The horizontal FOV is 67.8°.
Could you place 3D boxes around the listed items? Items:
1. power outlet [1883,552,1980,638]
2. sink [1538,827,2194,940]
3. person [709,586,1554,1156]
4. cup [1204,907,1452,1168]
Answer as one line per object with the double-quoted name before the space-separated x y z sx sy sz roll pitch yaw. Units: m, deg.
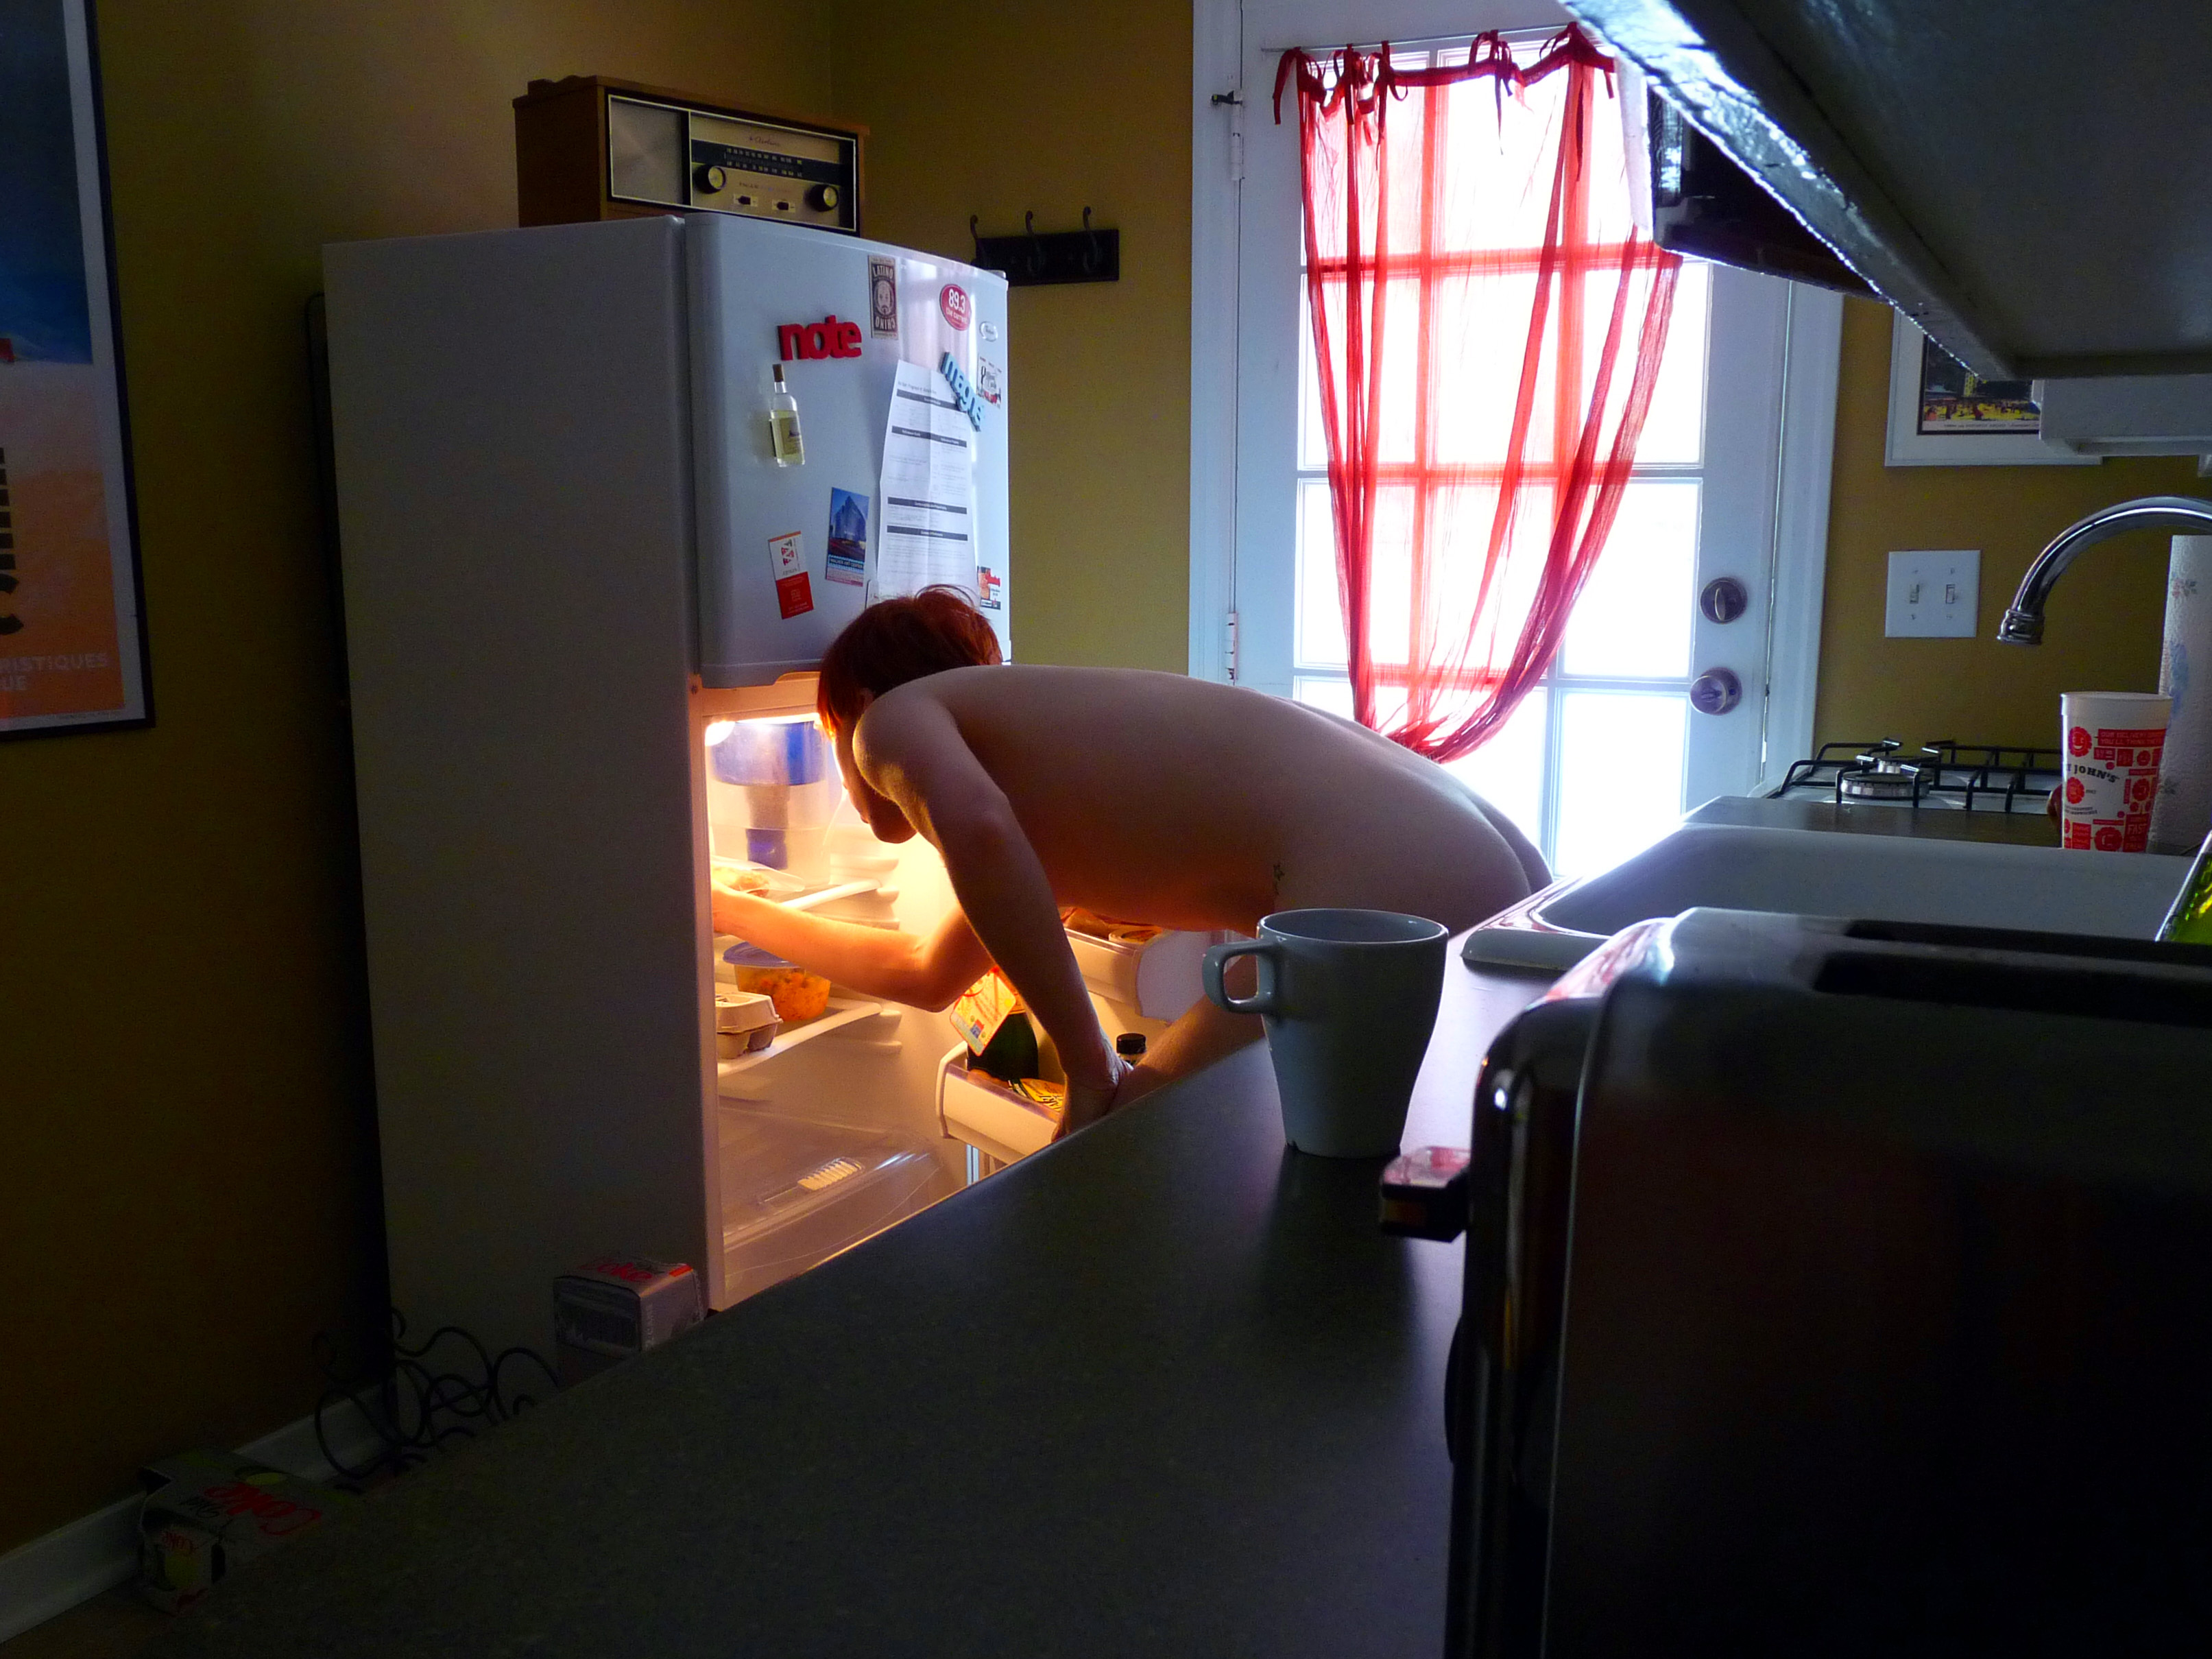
"power outlet" 1.347 -0.384 2.679 0.116 0.135 0.013 5 9 28
"sink" 0.713 0.048 1.505 0.366 0.096 0.285 3 9 27
"person" 0.075 0.018 2.024 0.985 0.939 0.451 -9 0 24
"cup" 0.118 0.123 0.914 0.135 0.130 0.113 1 7 12
